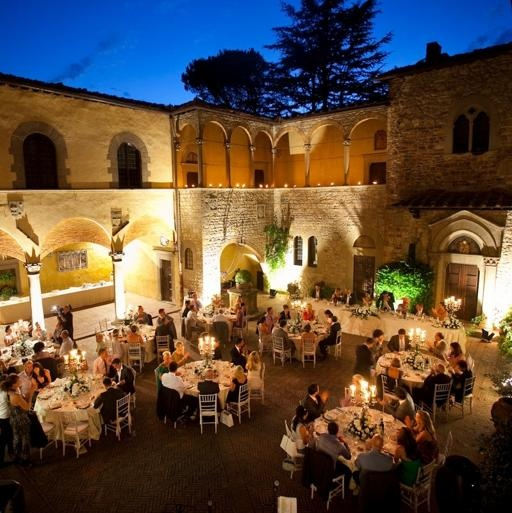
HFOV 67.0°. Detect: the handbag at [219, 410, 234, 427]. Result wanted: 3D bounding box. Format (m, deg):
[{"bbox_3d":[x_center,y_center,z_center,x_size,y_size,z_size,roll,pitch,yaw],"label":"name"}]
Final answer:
[{"bbox_3d":[-0.630,3.409,8.104,0.112,0.250,0.290,2,-4,-44],"label":"handbag"}]
